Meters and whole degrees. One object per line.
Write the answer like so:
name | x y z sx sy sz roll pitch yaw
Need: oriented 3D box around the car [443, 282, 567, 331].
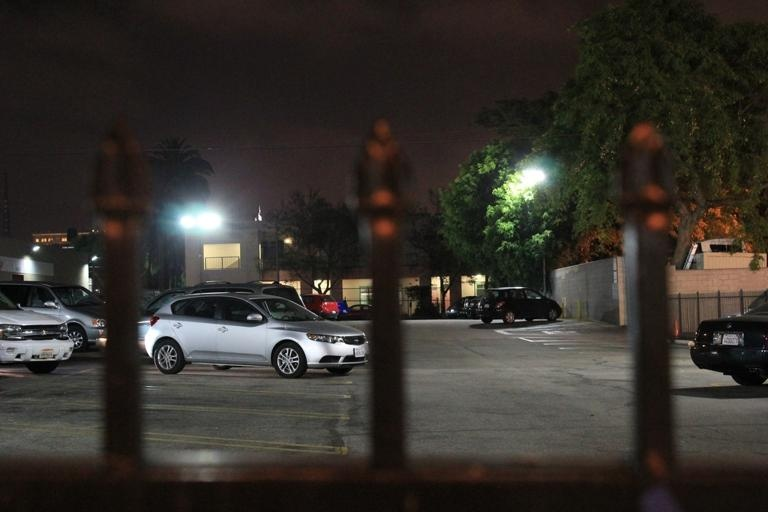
car | 7.993 2.965 42.581 4.546 2.223 1.696 -1 -4 -18
